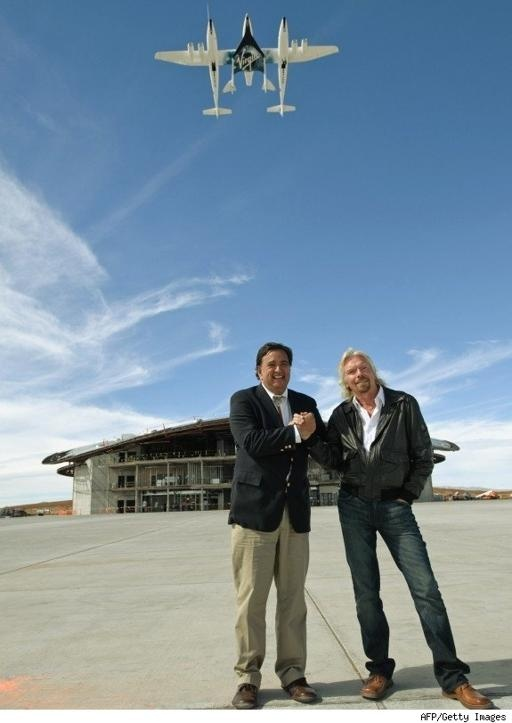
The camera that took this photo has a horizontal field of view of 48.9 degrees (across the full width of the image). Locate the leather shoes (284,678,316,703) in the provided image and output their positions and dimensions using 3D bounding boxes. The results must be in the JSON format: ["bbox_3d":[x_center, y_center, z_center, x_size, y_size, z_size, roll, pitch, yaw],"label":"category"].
[{"bbox_3d":[0.236,1.698,2.896,0.064,0.082,0.195,1,-32,-14],"label":"leather shoes"}]

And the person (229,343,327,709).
[{"bbox_3d":[0.106,0.826,3.330,0.601,1.960,0.893,-4,-9,8],"label":"person"}]

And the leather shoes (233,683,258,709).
[{"bbox_3d":[-0.052,1.677,2.798,0.116,0.099,0.224,-4,-9,5],"label":"leather shoes"}]
